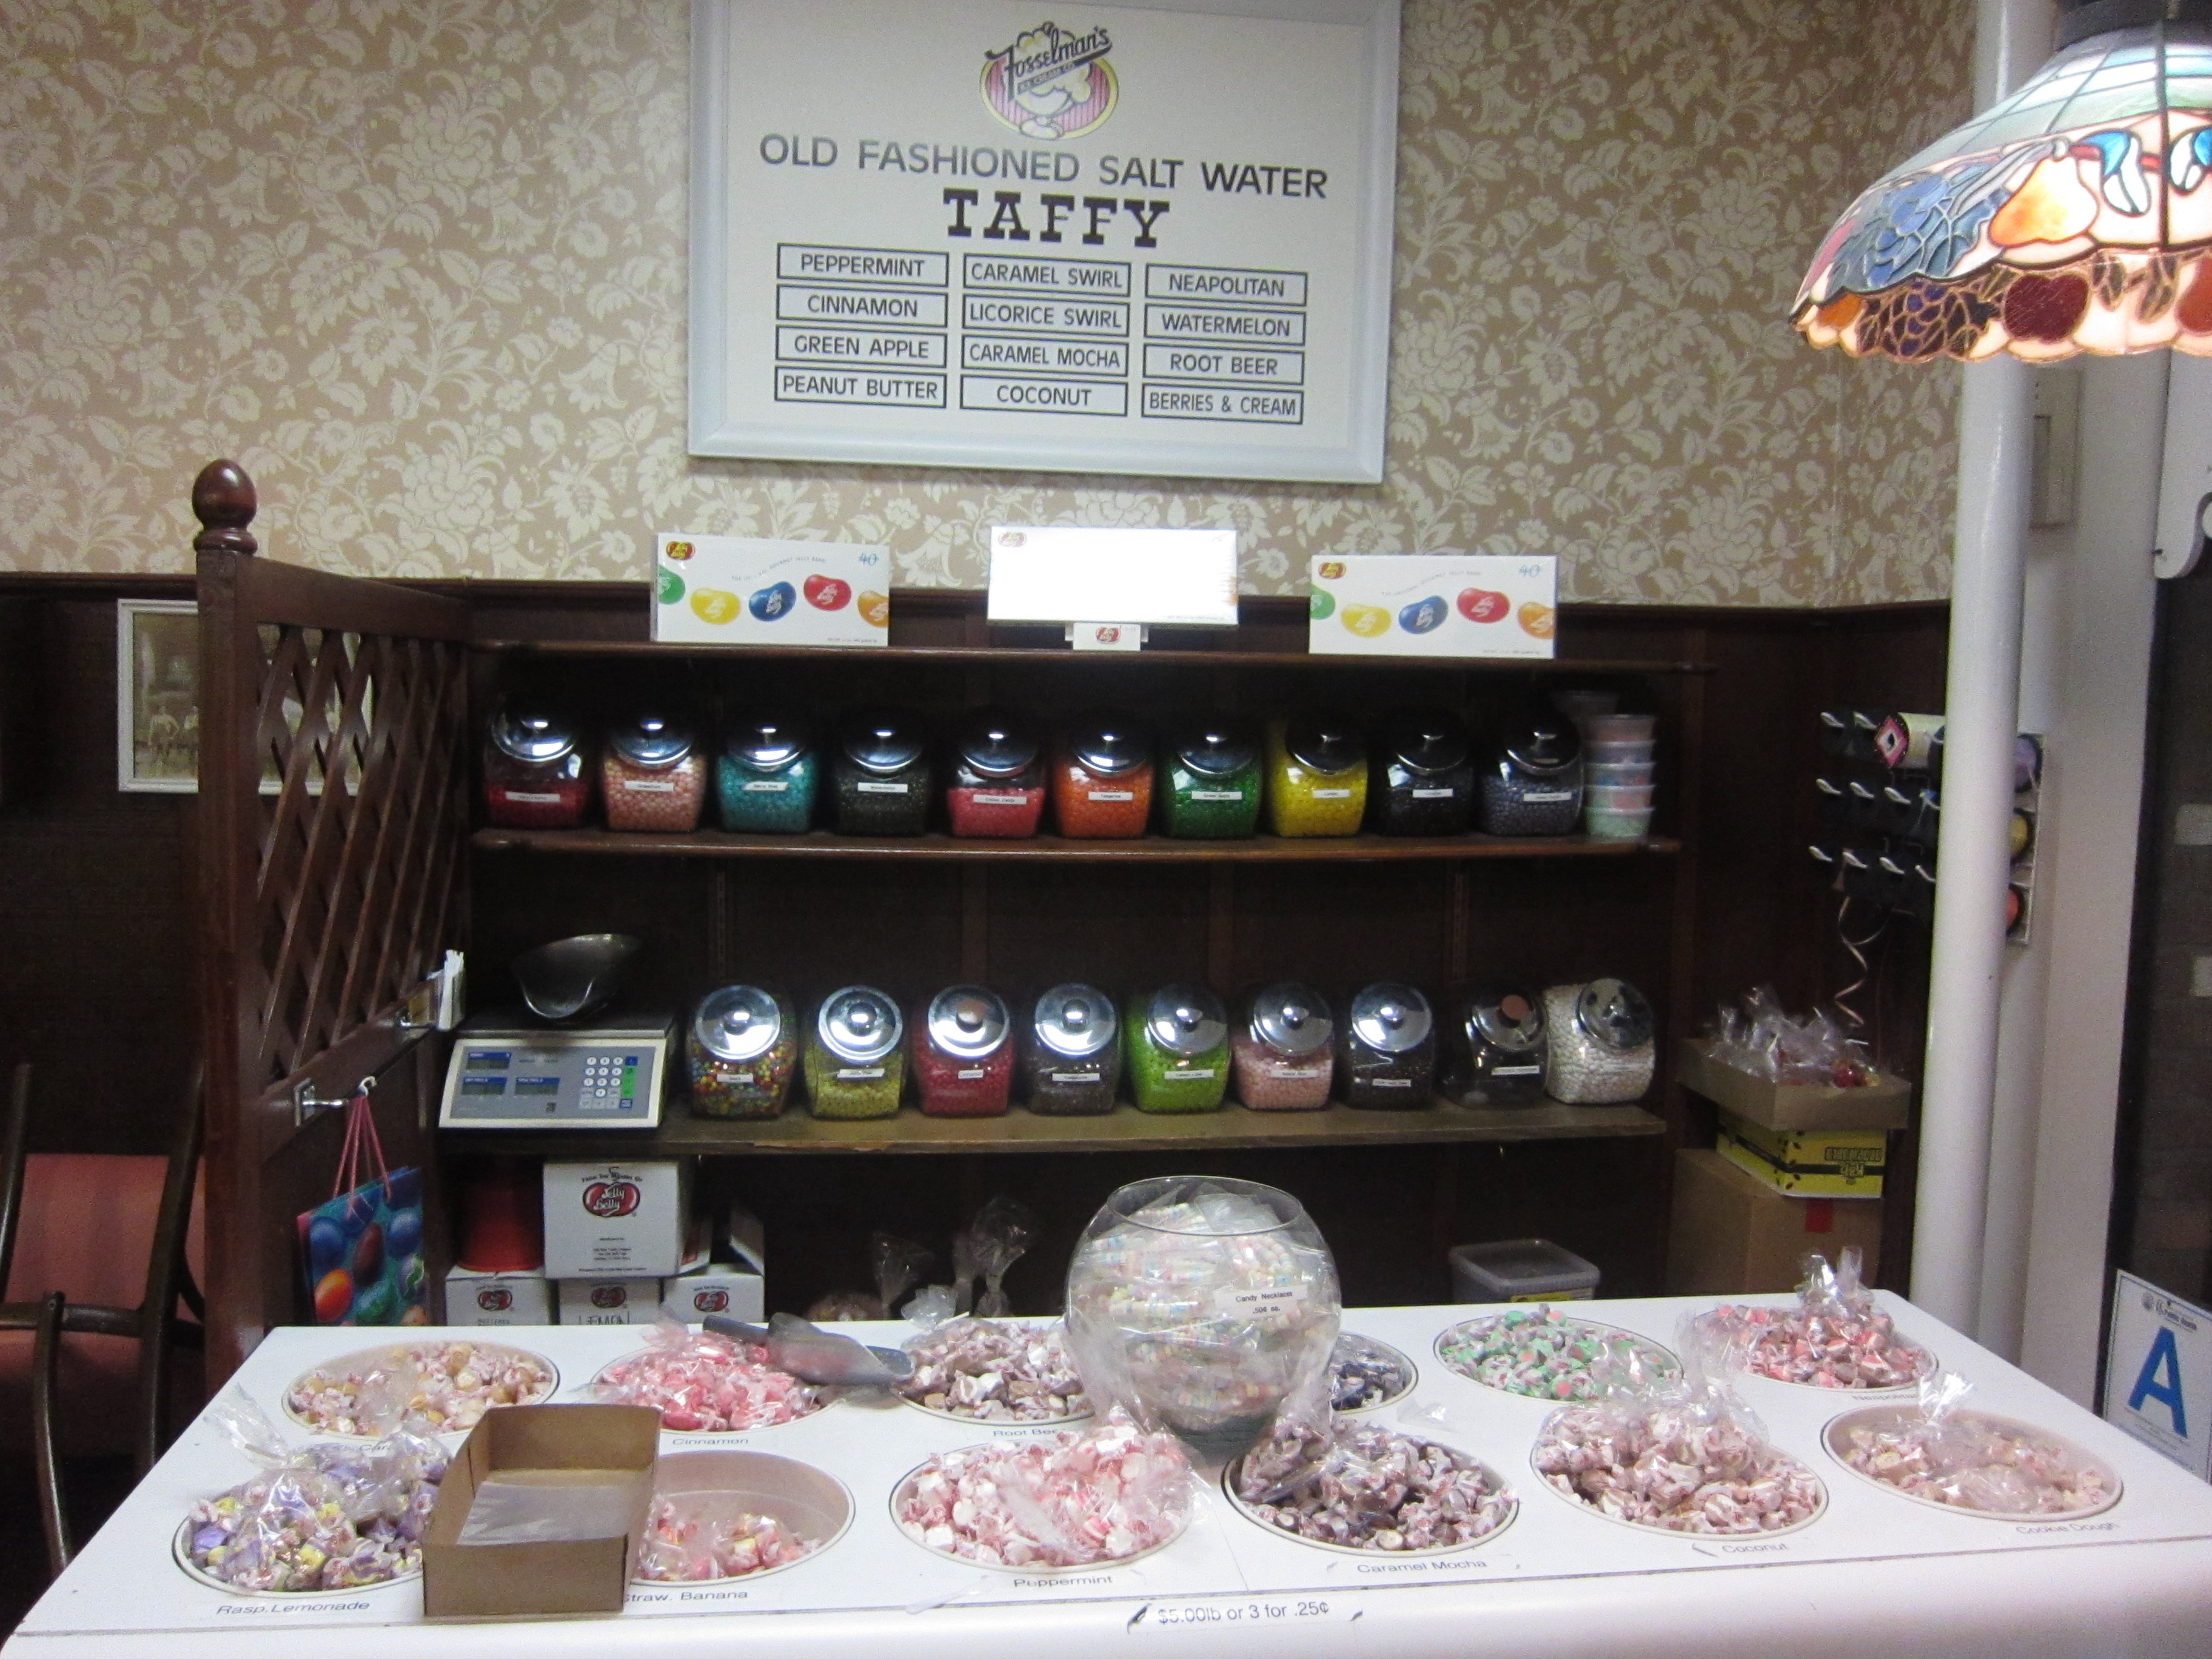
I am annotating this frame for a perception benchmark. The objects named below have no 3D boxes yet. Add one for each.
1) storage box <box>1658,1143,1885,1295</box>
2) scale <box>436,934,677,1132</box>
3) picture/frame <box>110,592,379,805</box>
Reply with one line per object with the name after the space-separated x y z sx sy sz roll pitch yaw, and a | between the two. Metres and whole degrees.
1.484 0.926 3.840 0.479 0.351 0.302 3 9 31 | storage box
-1.131 0.376 3.505 0.373 0.249 0.393 0 6 -3 | scale
-1.550 -0.247 3.063 0.425 0.339 0.017 1 -1 -3 | picture/frame
